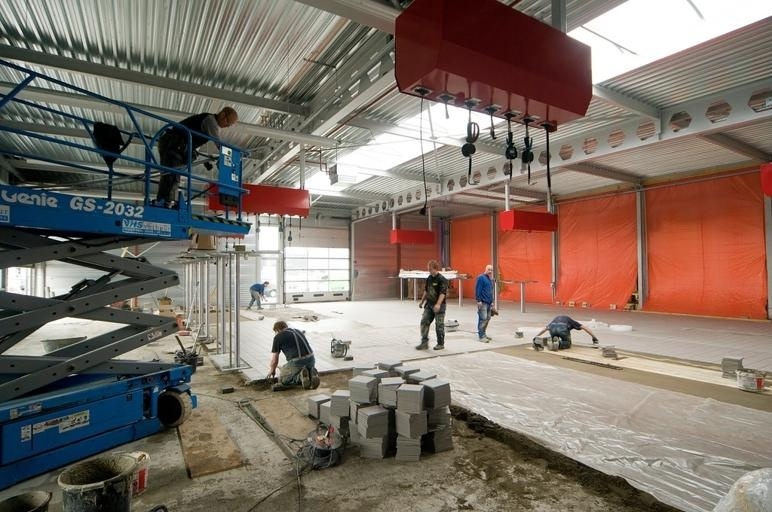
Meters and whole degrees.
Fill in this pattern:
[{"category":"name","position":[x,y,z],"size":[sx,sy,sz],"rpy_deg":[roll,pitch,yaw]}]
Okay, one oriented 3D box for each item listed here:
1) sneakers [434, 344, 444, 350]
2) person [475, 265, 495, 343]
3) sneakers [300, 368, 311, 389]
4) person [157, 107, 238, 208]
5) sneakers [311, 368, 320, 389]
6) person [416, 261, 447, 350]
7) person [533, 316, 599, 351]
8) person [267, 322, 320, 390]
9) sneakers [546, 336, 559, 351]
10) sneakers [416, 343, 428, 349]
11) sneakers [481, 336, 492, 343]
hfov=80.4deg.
[{"category":"sneakers","position":[1.128,1.935,9.730],"size":[0.194,0.088,0.197],"rpy_deg":[-1,-2,5]},{"category":"person","position":[2.434,1.108,11.122],"size":[0.441,1.706,1.464],"rpy_deg":[-2,-2,12]},{"category":"sneakers","position":[-1.299,1.965,7.379],"size":[0.163,0.286,0.152],"rpy_deg":[2,-14,-28]},{"category":"person","position":[-2.926,-1.501,6.868],"size":[1.033,1.695,1.159],"rpy_deg":[-1,-2,-6]},{"category":"sneakers","position":[-1.163,2.010,7.510],"size":[0.140,0.273,0.145],"rpy_deg":[6,-13,-32]},{"category":"person","position":[0.999,1.066,10.102],"size":[0.670,1.850,1.211],"rpy_deg":[-1,-2,5]},{"category":"person","position":[3.947,1.652,10.158],"size":[1.264,0.650,1.394],"rpy_deg":[-1,-2,17]},{"category":"person","position":[-1.532,1.628,7.565],"size":[0.773,1.050,0.476],"rpy_deg":[0,-3,-11]},{"category":"sneakers","position":[3.546,1.849,9.676],"size":[0.226,0.260,0.261],"rpy_deg":[-2,-2,20]},{"category":"sneakers","position":[0.769,1.919,9.700],"size":[0.275,0.150,0.107],"rpy_deg":[4,-8,0]},{"category":"sneakers","position":[2.300,1.896,10.444],"size":[0.257,0.109,0.242],"rpy_deg":[0,-2,-21]}]
